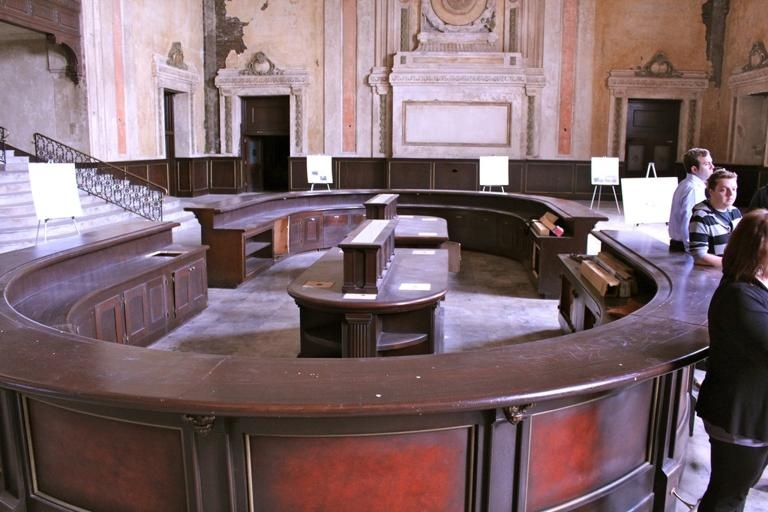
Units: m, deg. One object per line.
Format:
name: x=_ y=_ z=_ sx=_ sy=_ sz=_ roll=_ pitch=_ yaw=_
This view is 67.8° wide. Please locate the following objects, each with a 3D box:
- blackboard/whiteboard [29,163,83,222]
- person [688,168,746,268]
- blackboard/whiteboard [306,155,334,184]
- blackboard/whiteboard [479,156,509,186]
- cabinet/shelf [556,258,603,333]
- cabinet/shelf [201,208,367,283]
blackboard/whiteboard: x=-4.402 y=-0.878 z=7.664 sx=0.581 sy=0.754 sz=0.418 roll=-13 pitch=19 yaw=-39
person: x=2.838 y=-0.313 z=4.748 sx=0.479 sy=0.815 sz=0.465 roll=-11 pitch=13 yaw=-11
blackboard/whiteboard: x=-1.468 y=-2.000 z=13.056 sx=0.527 sy=0.583 sz=0.718 roll=-3 pitch=15 yaw=-10
blackboard/whiteboard: x=2.504 y=-1.955 z=13.134 sx=0.725 sy=0.723 sz=0.716 roll=-1 pitch=6 yaw=4
cabinet/shelf: x=1.999 y=0.399 z=5.803 sx=0.232 sy=0.379 sz=0.808 roll=0 pitch=11 yaw=5
cabinet/shelf: x=-1.779 y=-0.414 z=9.658 sx=0.672 sy=1.188 sz=3.300 roll=5 pitch=15 yaw=20
